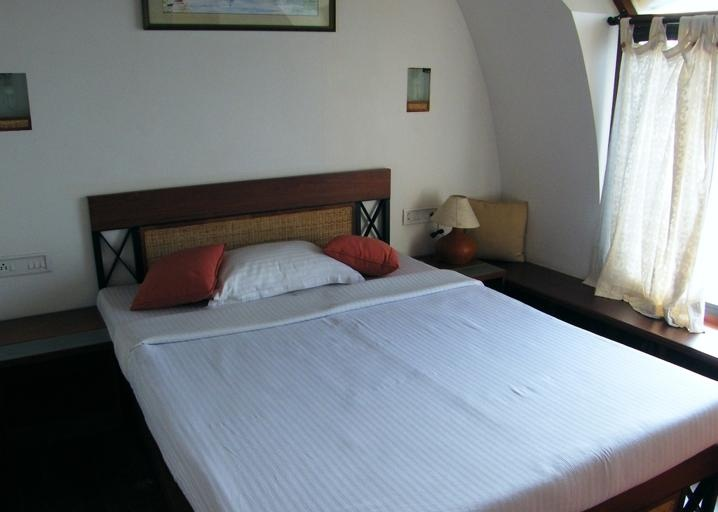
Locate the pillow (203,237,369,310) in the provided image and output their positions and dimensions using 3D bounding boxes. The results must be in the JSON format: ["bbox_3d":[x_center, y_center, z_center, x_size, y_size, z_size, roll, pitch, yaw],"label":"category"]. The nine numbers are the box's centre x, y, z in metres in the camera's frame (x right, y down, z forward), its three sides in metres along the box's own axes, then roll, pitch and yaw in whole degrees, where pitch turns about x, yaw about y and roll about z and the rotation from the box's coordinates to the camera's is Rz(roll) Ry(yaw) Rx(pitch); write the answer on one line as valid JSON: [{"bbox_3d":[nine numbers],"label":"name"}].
[{"bbox_3d":[-0.456,0.083,3.109,0.479,0.134,0.449,-10,29,-24],"label":"pillow"}]

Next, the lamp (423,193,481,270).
[{"bbox_3d":[0.693,-0.192,3.899,0.317,0.513,0.338,-8,15,-31],"label":"lamp"}]

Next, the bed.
[{"bbox_3d":[-0.237,-0.016,2.695,2.069,1.416,2.105,-13,25,-32],"label":"bed"}]

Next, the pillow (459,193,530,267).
[{"bbox_3d":[1.028,-0.191,4.110,0.472,0.530,0.189,5,29,24],"label":"pillow"}]

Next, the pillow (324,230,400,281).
[{"bbox_3d":[0.037,0.001,3.409,0.296,0.163,0.334,20,7,4],"label":"pillow"}]

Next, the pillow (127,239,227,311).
[{"bbox_3d":[-1.004,0.122,3.002,0.474,0.273,0.325,-6,18,-7],"label":"pillow"}]
